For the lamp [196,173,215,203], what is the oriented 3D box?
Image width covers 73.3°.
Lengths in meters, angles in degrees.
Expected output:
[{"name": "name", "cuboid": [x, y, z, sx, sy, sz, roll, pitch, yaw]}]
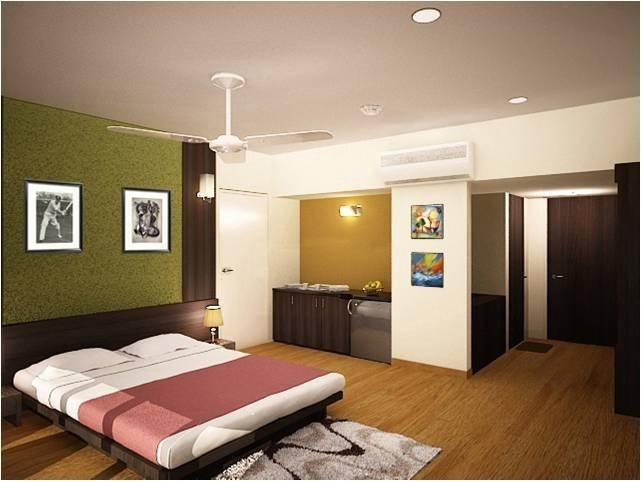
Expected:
[{"name": "lamp", "cuboid": [-1.561, -0.738, 6.025, 0.178, 0.373, 0.306, 4, 7, 32]}]

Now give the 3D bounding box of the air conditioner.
[{"name": "air conditioner", "cuboid": [1.335, -0.987, 5.581, 1.186, 0.493, 0.143, 4, 7, 33]}]

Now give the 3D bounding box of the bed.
[{"name": "bed", "cuboid": [-1.561, 1.389, 3.951, 1.814, 0.584, 1.745, -1, -1, 41]}]

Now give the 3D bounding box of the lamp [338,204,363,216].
[{"name": "lamp", "cuboid": [0.475, -0.494, 7.073, 0.404, 0.201, 0.161, 2, 6, 21]}]

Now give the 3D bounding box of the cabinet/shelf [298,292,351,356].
[{"name": "cabinet/shelf", "cuboid": [0.086, 1.276, 6.600, 0.846, 0.869, 0.334, -2, -3, 37]}]

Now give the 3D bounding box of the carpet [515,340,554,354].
[{"name": "carpet", "cuboid": [3.353, 1.664, 6.755, 0.455, 0.055, 0.775, 4, 7, 39]}]
